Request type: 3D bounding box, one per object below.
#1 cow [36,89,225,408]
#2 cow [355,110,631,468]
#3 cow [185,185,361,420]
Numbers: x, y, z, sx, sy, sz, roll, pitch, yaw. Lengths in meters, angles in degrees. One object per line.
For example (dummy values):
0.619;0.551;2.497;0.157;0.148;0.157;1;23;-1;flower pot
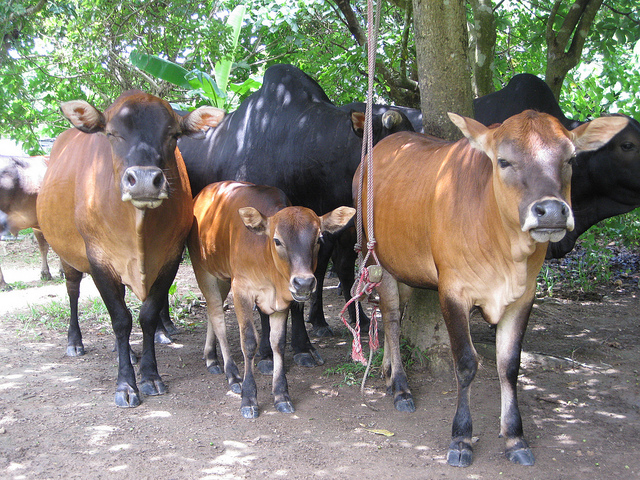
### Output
-1.999;-0.029;6.559;1.168;2.936;2.311;-12;18;-38;cow
1.372;0.396;5.797;1.242;2.966;3.380;-3;7;-10;cow
-0.702;0.511;6.718;0.987;2.138;3.249;-3;12;-26;cow
